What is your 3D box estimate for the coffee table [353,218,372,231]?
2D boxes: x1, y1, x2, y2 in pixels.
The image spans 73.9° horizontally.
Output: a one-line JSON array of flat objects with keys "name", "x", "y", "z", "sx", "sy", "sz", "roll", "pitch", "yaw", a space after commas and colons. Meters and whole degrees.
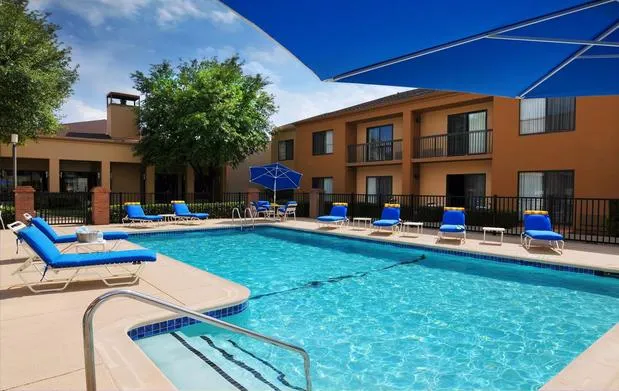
[{"name": "coffee table", "x": 2.389, "y": 1.286, "z": 19.049, "sx": 0.707, "sy": 0.396, "sz": 0.678, "roll": 0, "pitch": -2, "yaw": 2}]

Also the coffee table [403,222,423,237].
[{"name": "coffee table", "x": 4.272, "y": 1.343, "z": 17.135, "sx": 0.896, "sy": 0.524, "sz": 0.670, "roll": 0, "pitch": -1, "yaw": -39}]

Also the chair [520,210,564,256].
[{"name": "chair", "x": 7.780, "y": 1.181, "z": 13.803, "sx": 1.182, "sy": 1.373, "sz": 1.939, "roll": -1, "pitch": -1, "yaw": 8}]

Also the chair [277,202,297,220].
[{"name": "chair", "x": -1.126, "y": 0.795, "z": 21.701, "sx": 0.935, "sy": 1.117, "sz": 1.114, "roll": -1, "pitch": 3, "yaw": -34}]

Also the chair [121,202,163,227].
[{"name": "chair", "x": -7.723, "y": 0.835, "z": 18.781, "sx": 1.931, "sy": 1.007, "sz": 1.114, "roll": 0, "pitch": -1, "yaw": 38}]

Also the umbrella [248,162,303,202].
[{"name": "umbrella", "x": -1.717, "y": -0.655, "z": 21.043, "sx": 2.419, "sy": 1.811, "sz": 1.319, "roll": 0, "pitch": -6, "yaw": -7}]

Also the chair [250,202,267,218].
[{"name": "chair", "x": -2.646, "y": 0.775, "z": 21.992, "sx": 1.023, "sy": 0.856, "sz": 0.785, "roll": 1, "pitch": 1, "yaw": -11}]

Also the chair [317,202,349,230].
[{"name": "chair", "x": 1.083, "y": 0.919, "z": 18.718, "sx": 0.983, "sy": 0.975, "sz": 1.415, "roll": -1, "pitch": 0, "yaw": 35}]

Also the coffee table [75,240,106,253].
[{"name": "coffee table", "x": -6.568, "y": 1.559, "z": 12.637, "sx": 1.026, "sy": 0.227, "sz": 0.989, "roll": 1, "pitch": -2, "yaw": -35}]

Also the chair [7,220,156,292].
[{"name": "chair", "x": -5.450, "y": 1.493, "z": 10.089, "sx": 3.544, "sy": 1.491, "sz": 2.113, "roll": 0, "pitch": -6, "yaw": -3}]

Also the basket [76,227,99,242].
[{"name": "basket", "x": -5.710, "y": 1.004, "z": 10.742, "sx": 0.452, "sy": 0.284, "sz": 0.408, "roll": -1, "pitch": -1, "yaw": 16}]

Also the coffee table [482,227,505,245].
[{"name": "coffee table", "x": 6.647, "y": 1.330, "z": 15.081, "sx": 0.833, "sy": 0.622, "sz": 1.046, "roll": 1, "pitch": -2, "yaw": 32}]
